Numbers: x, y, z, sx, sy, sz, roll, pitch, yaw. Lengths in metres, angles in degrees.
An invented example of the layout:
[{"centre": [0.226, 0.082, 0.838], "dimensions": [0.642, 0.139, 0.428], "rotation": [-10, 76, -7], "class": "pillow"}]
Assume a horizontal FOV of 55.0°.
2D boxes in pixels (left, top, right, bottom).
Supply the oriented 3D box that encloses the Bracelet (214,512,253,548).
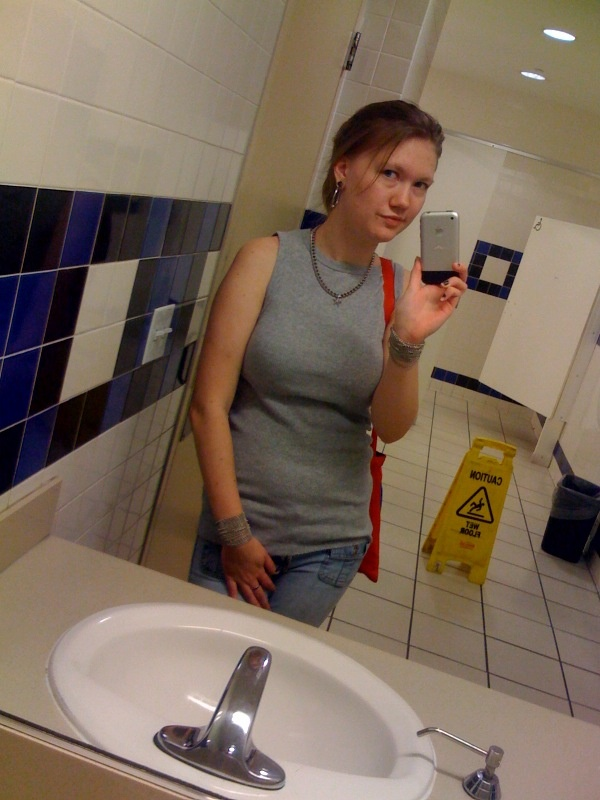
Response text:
[{"centre": [-0.092, 0.183, 0.814], "dimensions": [0.047, 0.042, 0.049], "rotation": [-20, 5, -3], "class": "Bracelet"}]
